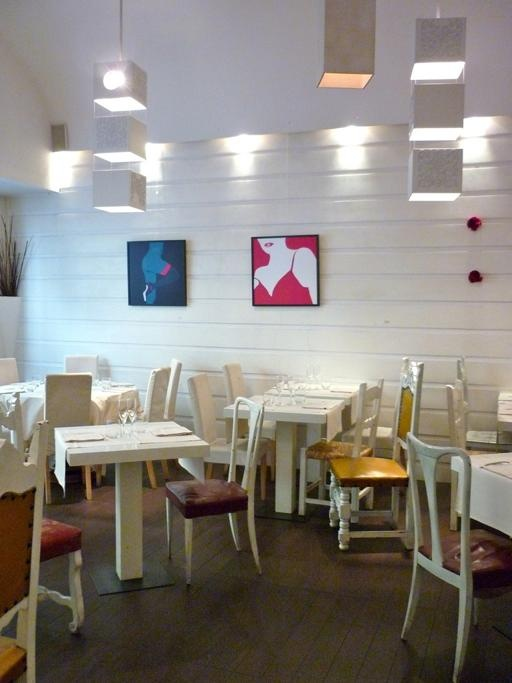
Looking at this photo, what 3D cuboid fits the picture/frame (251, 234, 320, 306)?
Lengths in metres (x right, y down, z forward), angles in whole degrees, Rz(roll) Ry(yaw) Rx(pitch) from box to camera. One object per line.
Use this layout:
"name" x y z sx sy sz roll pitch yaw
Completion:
"picture/frame" 0.322 -0.715 5.164 0.616 0.722 0.024 2 2 23

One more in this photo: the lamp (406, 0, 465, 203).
"lamp" 1.079 -1.414 3.108 0.321 1.051 0.465 0 -1 17

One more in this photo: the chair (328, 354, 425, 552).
"chair" 0.764 0.709 3.326 0.572 1.094 0.617 1 -4 23

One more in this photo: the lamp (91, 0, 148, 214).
"lamp" -0.953 -1.417 3.695 0.369 0.909 0.659 1 -1 -15

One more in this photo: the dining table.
"dining table" -0.652 0.862 2.728 0.709 0.877 0.794 0 2 -17
